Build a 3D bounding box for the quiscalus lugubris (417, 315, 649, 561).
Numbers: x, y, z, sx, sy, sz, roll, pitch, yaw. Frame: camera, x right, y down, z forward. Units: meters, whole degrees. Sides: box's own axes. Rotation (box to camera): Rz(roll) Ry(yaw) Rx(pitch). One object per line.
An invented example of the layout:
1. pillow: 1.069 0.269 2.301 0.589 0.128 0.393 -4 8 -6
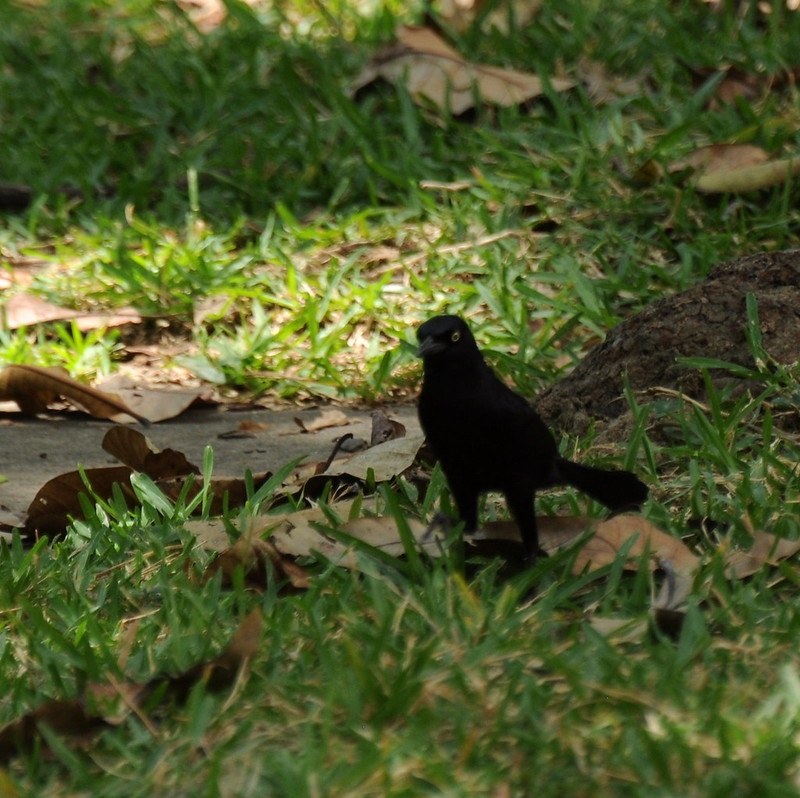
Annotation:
1. quiscalus lugubris: 0.157 0.083 1.860 0.459 0.366 0.261 40 73 21
